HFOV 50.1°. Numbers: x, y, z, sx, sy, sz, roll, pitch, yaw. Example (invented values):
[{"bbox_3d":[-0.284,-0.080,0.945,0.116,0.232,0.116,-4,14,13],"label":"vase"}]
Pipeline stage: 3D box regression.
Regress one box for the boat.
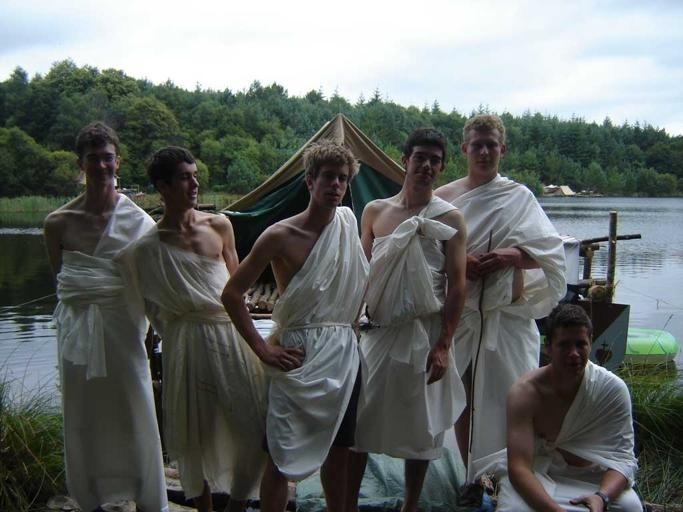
[{"bbox_3d":[2.579,0.903,7.021,0.727,0.215,0.736,-2,1,-28],"label":"boat"}]
